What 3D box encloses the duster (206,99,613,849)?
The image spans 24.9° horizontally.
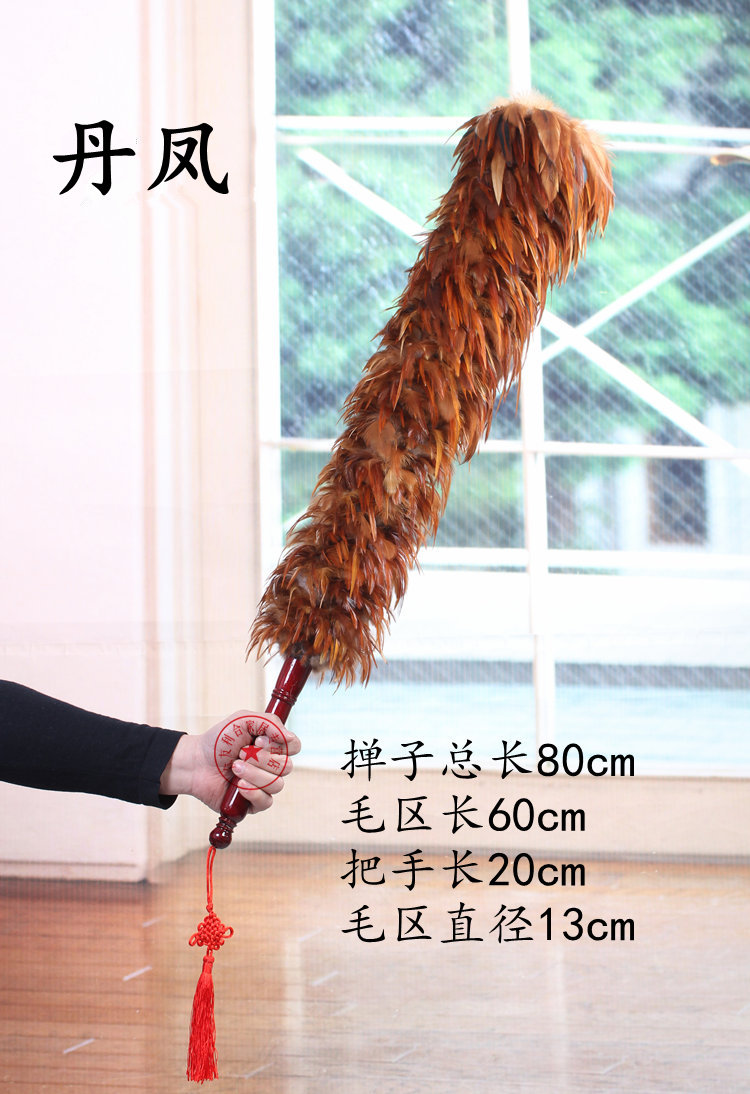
[{"bbox_3d":[0.030,-0.061,1.960,0.188,0.849,0.248,29,9,37],"label":"duster"}]
